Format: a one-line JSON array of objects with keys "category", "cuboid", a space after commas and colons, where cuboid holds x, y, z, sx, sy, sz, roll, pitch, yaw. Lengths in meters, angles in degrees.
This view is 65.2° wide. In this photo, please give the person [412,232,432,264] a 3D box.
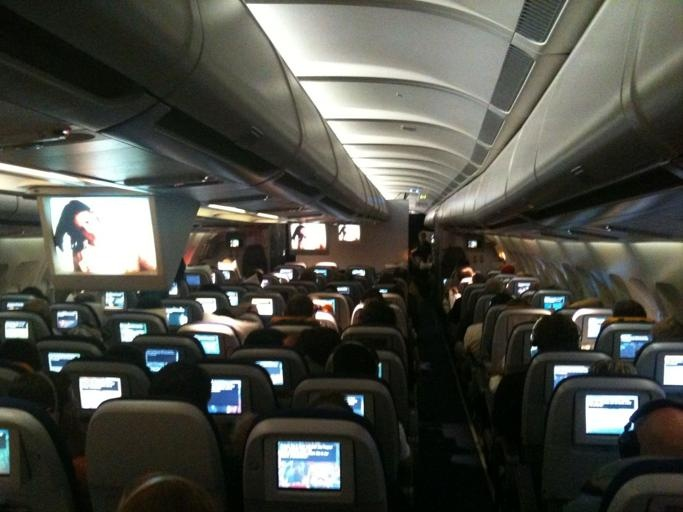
[{"category": "person", "cuboid": [3.563, -0.302, 23.911, 0.837, 1.668, 0.851, -1, -24, 16]}]

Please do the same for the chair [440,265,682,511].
[{"category": "chair", "cuboid": [2.309, 1.429, 5.062, 1.289, 1.955, 1.838, -1, 11, 3]}]
